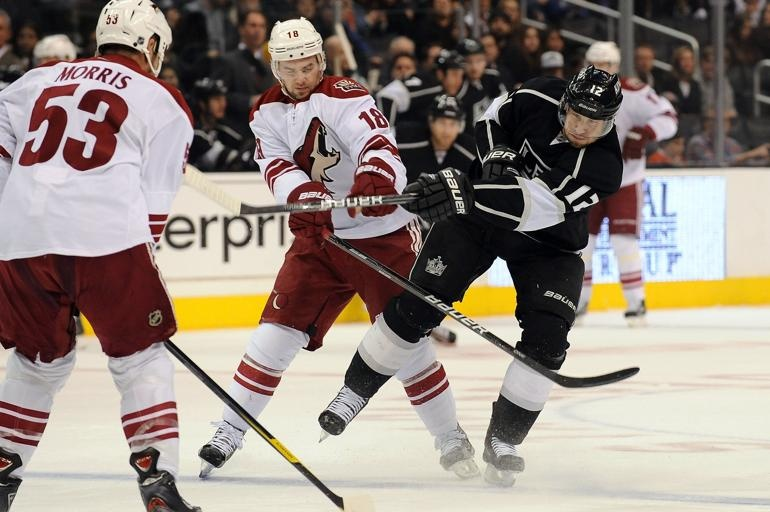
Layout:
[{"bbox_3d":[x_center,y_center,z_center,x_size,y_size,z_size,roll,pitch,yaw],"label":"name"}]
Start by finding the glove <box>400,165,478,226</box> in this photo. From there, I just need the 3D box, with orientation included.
[{"bbox_3d":[0.147,-0.241,4.276,0.265,0.183,0.110,-22,42,-7],"label":"glove"}]

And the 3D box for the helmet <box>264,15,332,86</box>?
[{"bbox_3d":[-0.395,-0.872,4.653,0.272,0.258,0.301,-16,11,-33],"label":"helmet"}]

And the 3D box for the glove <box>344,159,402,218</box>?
[{"bbox_3d":[-0.046,-0.278,4.399,0.184,0.104,0.241,6,40,23],"label":"glove"}]

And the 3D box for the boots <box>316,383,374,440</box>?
[{"bbox_3d":[-0.184,0.647,4.533,0.116,0.140,0.338,34,60,10],"label":"boots"}]

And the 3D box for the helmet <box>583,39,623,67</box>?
[{"bbox_3d":[1.546,-1.445,7.581,0.254,0.202,0.229,-4,-28,12],"label":"helmet"}]

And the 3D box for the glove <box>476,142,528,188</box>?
[{"bbox_3d":[0.466,-0.383,4.379,0.174,0.151,0.134,24,-25,11],"label":"glove"}]

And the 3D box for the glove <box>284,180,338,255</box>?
[{"bbox_3d":[-0.315,-0.164,4.475,0.200,0.260,0.118,8,18,37],"label":"glove"}]

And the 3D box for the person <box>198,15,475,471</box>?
[{"bbox_3d":[-0.147,-0.067,4.524,1.179,1.956,1.262,2,-7,-17],"label":"person"}]

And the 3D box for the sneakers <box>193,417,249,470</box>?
[{"bbox_3d":[-0.700,0.793,4.517,0.113,0.104,0.266,34,8,0],"label":"sneakers"}]

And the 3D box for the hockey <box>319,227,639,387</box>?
[{"bbox_3d":[0.451,0.259,5.133,1.317,0.054,0.393,27,-1,11],"label":"hockey"}]

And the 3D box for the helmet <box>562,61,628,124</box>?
[{"bbox_3d":[0.847,-0.670,4.294,0.197,0.224,0.251,27,34,6],"label":"helmet"}]
